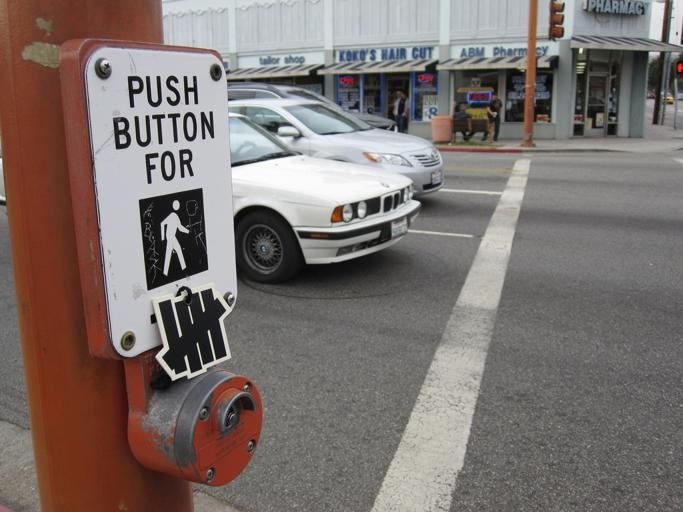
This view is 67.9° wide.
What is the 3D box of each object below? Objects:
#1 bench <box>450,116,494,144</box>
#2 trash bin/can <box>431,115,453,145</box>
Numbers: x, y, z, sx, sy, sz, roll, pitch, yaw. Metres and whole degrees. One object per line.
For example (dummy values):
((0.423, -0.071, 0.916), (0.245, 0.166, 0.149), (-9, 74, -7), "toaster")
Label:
((6.352, -6.005, 24.104), (2.684, 1.169, 1.446), (-14, 21, -38), "bench")
((4.754, -6.025, 24.253), (1.018, 1.621, 1.173), (0, 11, 5), "trash bin/can")
